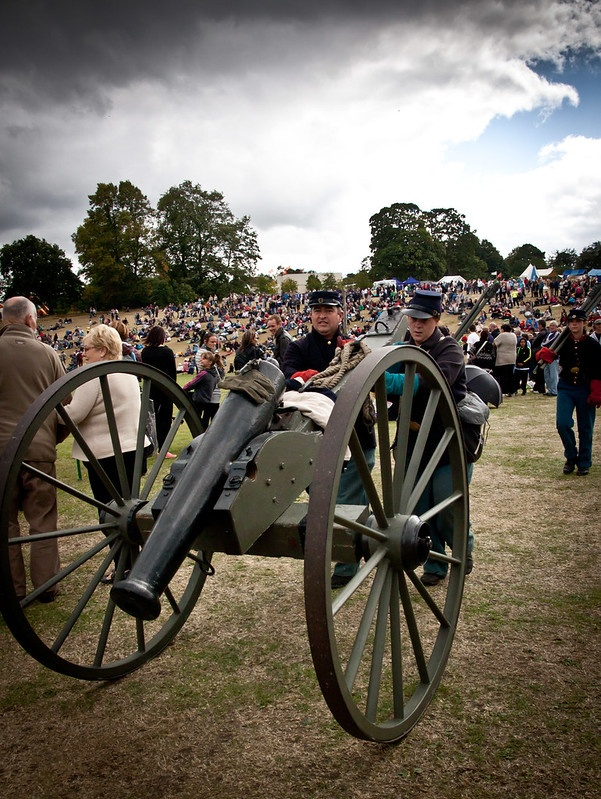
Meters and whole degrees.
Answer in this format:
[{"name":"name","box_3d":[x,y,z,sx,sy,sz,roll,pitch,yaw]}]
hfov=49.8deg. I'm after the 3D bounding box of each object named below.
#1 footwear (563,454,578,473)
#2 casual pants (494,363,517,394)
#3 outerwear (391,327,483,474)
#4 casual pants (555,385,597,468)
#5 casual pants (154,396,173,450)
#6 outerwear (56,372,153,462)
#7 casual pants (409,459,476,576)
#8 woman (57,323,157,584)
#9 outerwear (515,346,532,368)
[{"name":"footwear","box_3d":[2.532,0.592,5.980,0.076,0.095,0.231,-2,17,46]},{"name":"casual pants","box_3d":[4.098,-0.404,13.011,0.371,0.668,0.883,-1,6,18]},{"name":"outerwear","box_3d":[0.699,0.019,3.399,0.574,0.775,0.473,-2,5,14]},{"name":"casual pants","box_3d":[2.568,0.248,6.037,0.312,0.793,0.456,0,7,21]},{"name":"casual pants","box_3d":[-1.293,0.176,6.047,0.136,0.570,0.153,8,16,10]},{"name":"outerwear","box_3d":[-0.968,0.073,3.191,0.286,0.481,0.522,1,6,33]},{"name":"casual pants","box_3d":[0.760,0.622,3.443,0.304,0.216,0.721,-39,24,33]},{"name":"woman","box_3d":[-1.146,0.271,3.663,0.475,1.380,0.506,4,6,40]},{"name":"outerwear","box_3d":[4.595,-0.917,13.365,0.464,0.520,0.314,-1,-5,23]}]
